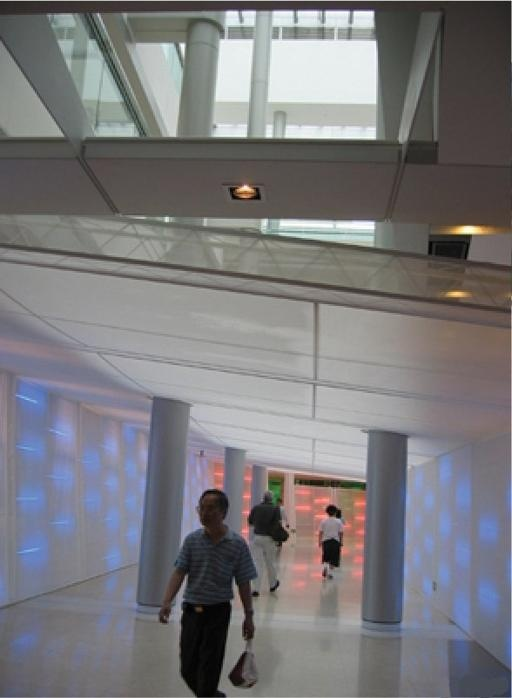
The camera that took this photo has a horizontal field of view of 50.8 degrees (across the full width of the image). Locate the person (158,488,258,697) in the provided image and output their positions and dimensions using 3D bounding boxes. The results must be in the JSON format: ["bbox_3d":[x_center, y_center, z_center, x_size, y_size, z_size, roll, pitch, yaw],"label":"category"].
[{"bbox_3d":[-0.294,1.568,3.455,0.624,1.290,0.575,7,-13,-2],"label":"person"}]
